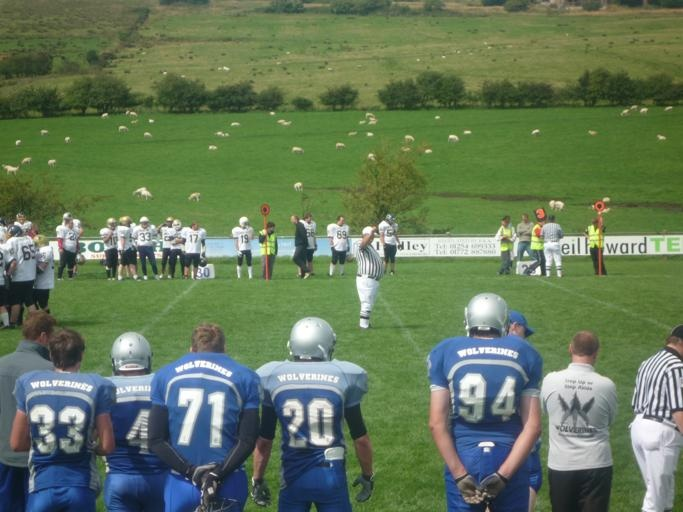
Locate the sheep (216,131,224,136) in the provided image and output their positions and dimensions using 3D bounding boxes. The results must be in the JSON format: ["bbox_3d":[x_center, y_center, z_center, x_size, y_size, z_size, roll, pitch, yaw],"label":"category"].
[{"bbox_3d":[-22.160,-22.288,291.425,1.137,0.667,2.133,-6,10,-13],"label":"sheep"}]

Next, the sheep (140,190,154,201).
[{"bbox_3d":[-31.823,-9.918,260.272,1.955,1.682,1.662,0,0,-9],"label":"sheep"}]

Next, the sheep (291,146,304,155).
[{"bbox_3d":[-7.397,-18.537,279.585,2.824,1.031,1.547,5,-15,-18],"label":"sheep"}]

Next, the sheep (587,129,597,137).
[{"bbox_3d":[45.187,-22.092,286.124,1.896,1.449,0.799,4,11,13],"label":"sheep"}]
